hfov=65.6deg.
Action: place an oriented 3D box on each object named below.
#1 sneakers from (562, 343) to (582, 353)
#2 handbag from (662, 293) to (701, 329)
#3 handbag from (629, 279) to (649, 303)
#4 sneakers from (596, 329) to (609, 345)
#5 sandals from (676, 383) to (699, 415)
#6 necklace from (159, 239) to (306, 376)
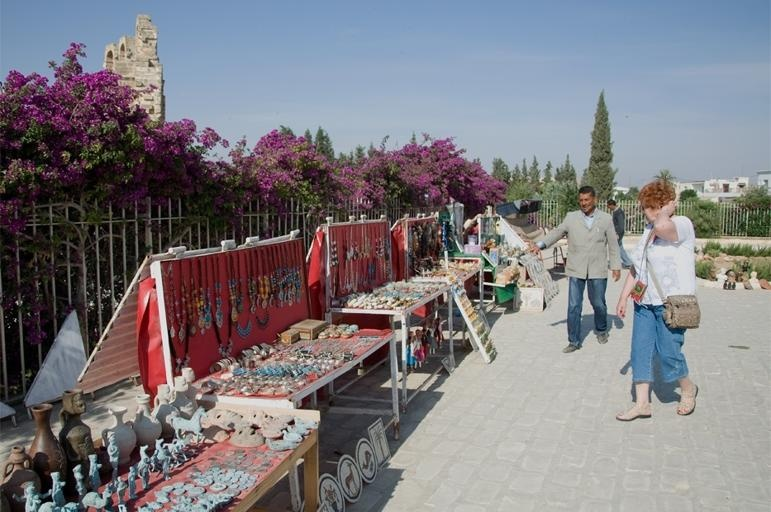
[{"bbox_3d":[3.176,1.552,10.140,0.390,0.165,0.129,4,-5,-43],"label":"sneakers"},{"bbox_3d":[3.438,0.639,6.907,0.404,0.405,0.219,1,-5,0],"label":"handbag"},{"bbox_3d":[3.042,0.418,7.170,0.061,0.228,0.171,15,-1,5],"label":"handbag"},{"bbox_3d":[3.852,1.434,10.674,0.166,0.239,0.085,-4,-22,-13],"label":"sneakers"},{"bbox_3d":[3.865,1.755,7.658,0.197,0.271,0.624,-11,12,40],"label":"sandals"},{"bbox_3d":[-1.579,0.501,6.502,0.192,1.190,2.178,4,10,26],"label":"necklace"}]
